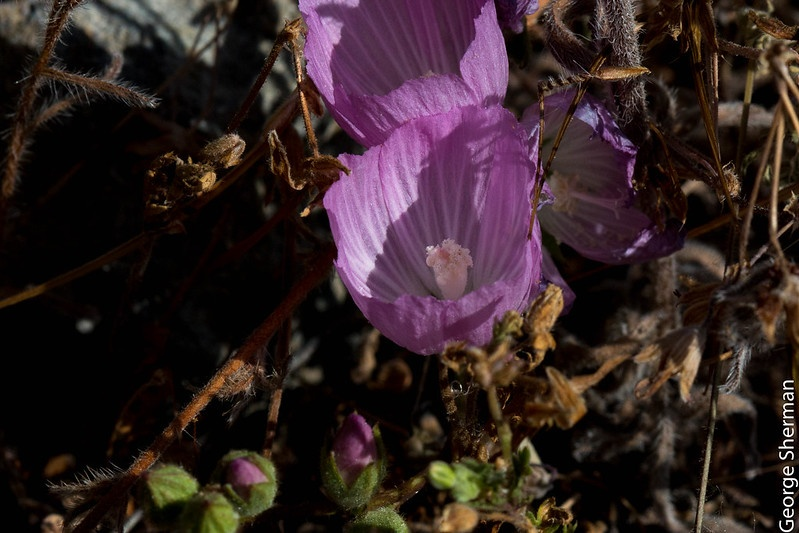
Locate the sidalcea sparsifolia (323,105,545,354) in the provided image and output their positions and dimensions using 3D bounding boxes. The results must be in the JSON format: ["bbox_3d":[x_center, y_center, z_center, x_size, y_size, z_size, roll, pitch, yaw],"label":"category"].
[{"bbox_3d":[0.076,-0.039,2.063,0.508,0.305,0.615,-19,-25,-9],"label":"sidalcea sparsifolia"}]
